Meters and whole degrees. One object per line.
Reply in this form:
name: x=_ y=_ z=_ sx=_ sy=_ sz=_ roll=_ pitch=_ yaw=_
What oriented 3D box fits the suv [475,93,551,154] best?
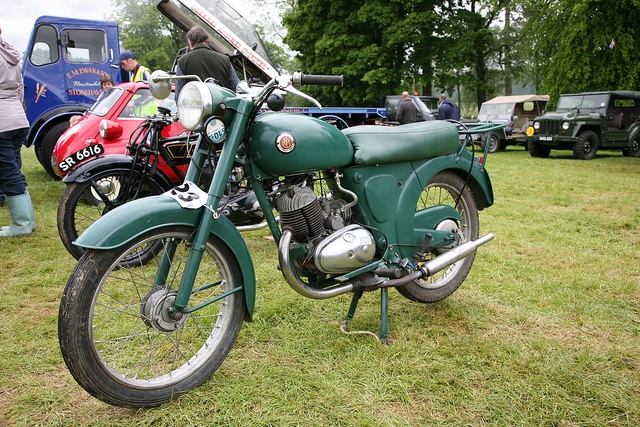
suv: x=6.618 y=-3.112 z=18.725 sx=2.561 sy=1.621 sz=1.636 roll=-9 pitch=13 yaw=-11

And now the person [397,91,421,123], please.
person: x=2.222 y=-2.644 z=13.726 sx=0.491 sy=0.763 sz=0.457 roll=-7 pitch=24 yaw=-1

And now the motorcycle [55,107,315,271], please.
motorcycle: x=-1.691 y=-0.345 z=6.300 sx=2.386 sy=1.530 sz=1.546 roll=-8 pitch=6 yaw=-27
